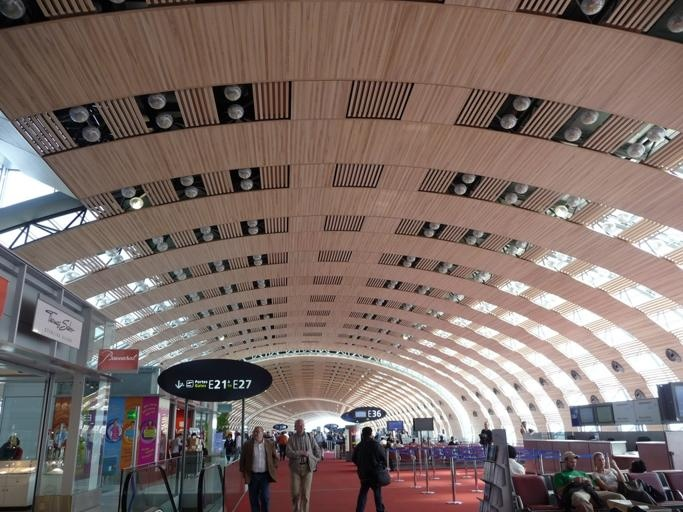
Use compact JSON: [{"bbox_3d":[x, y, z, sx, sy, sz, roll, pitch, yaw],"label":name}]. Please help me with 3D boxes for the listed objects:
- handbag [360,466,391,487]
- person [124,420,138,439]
[{"bbox_3d":[0.854,5.234,8.996,0.674,0.511,0.372,-3,-21,-5],"label":"handbag"},{"bbox_3d":[-12.629,10.232,22.093,0.773,0.812,0.159,-6,-29,7],"label":"person"}]
